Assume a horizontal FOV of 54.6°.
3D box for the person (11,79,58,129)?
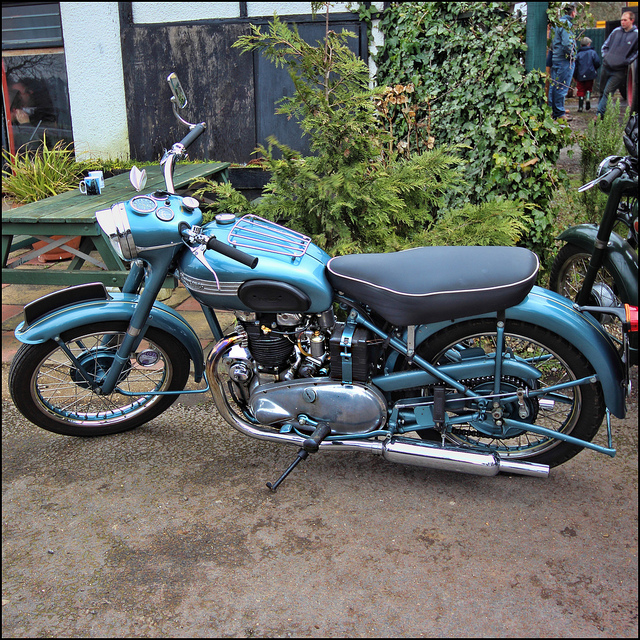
[{"bbox_3d":[-3.999,-2.994,8.621,0.846,0.627,0.184,-4,17,16],"label":"person"}]
